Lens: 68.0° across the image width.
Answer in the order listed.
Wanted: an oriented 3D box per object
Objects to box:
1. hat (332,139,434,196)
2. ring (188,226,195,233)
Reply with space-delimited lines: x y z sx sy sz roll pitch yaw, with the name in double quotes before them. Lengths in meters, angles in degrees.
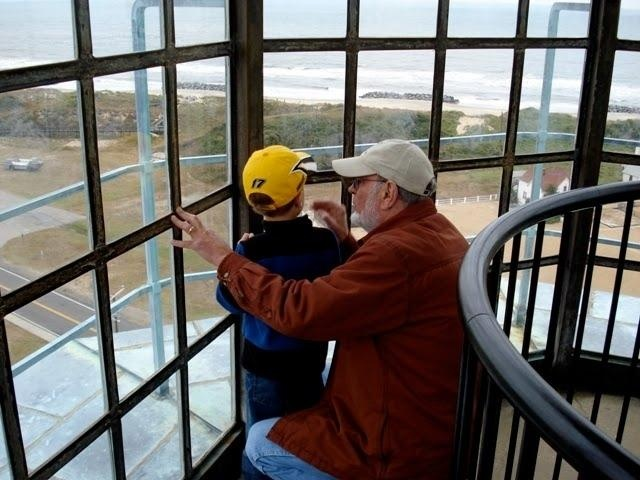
"hat" 0.261 -0.301 2.010 0.444 0.205 0.276 16 -4 6
"ring" -0.535 -0.043 1.962 0.008 0.032 0.035 2 -27 -42
